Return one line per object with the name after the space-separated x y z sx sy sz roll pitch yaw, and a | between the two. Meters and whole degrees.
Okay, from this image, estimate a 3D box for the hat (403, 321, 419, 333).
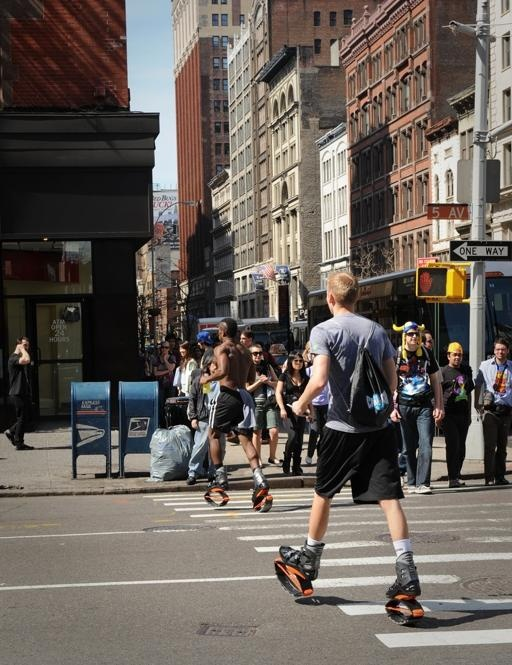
1.727 -0.069 11.120 0.120 0.146 0.175 1 -22 -13 | hat

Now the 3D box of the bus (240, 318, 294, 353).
0.284 0.201 50.470 2.947 1.757 1.250 -1 1 -9 | bus

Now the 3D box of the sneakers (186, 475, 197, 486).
-0.815 1.858 12.577 0.130 0.114 0.353 -1 -1 -3 | sneakers

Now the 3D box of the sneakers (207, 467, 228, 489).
-0.409 1.521 10.442 0.128 0.237 0.334 -1 -2 -34 | sneakers

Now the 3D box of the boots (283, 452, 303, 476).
0.503 1.834 13.571 0.197 0.283 0.271 5 -8 -34 | boots

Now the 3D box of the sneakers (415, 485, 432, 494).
1.914 1.787 11.388 0.182 0.095 0.078 -5 11 0 | sneakers

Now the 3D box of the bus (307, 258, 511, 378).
3.827 -0.438 23.449 1.664 1.885 6.400 -1 -1 -12 | bus

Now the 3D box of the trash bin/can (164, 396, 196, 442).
-1.077 1.269 14.413 0.529 0.725 0.568 -3 -18 9 | trash bin/can

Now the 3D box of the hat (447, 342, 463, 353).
2.874 0.208 14.400 0.218 0.203 0.328 5 4 37 | hat

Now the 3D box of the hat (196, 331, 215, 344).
-0.728 0.092 14.388 0.265 0.243 0.196 -9 12 -44 | hat

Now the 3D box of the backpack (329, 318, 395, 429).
0.595 0.240 5.292 0.228 0.494 0.271 -1 18 32 | backpack

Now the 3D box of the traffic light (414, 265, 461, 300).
2.852 -0.784 15.344 0.318 0.579 0.916 0 -2 -44 | traffic light

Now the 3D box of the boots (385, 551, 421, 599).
0.739 1.260 5.095 0.092 0.219 0.279 6 -22 -23 | boots

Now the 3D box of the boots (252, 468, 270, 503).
0.065 1.530 9.668 0.113 0.268 0.369 -11 -33 -16 | boots
